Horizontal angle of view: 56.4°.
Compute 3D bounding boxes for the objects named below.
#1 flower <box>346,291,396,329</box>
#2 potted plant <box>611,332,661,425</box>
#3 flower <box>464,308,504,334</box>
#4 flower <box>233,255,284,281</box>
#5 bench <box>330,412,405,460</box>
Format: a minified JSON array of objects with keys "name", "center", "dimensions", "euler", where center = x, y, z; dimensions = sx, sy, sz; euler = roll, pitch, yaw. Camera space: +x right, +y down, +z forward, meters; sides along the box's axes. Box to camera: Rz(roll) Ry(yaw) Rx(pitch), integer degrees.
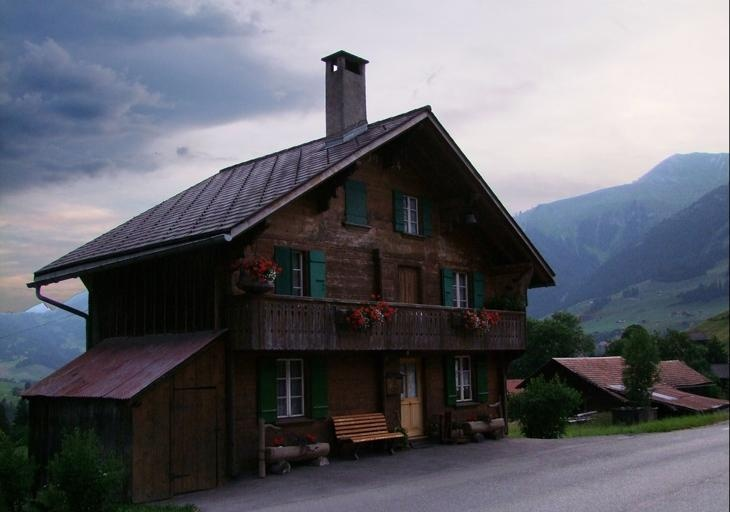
[{"name":"flower","center":[0.088,1.854,22.388],"dimensions":[0.998,0.596,1.081],"euler":[1,17,-9]},{"name":"potted plant","center":[15.509,6.762,38.416],"dimensions":[2.112,3.366,2.924],"euler":[3,-2,24]},{"name":"flower","center":[4.311,2.384,25.499],"dimensions":[1.271,0.846,0.912],"euler":[1,-3,-34]},{"name":"flower","center":[-3.328,0.371,20.556],"dimensions":[0.948,0.581,0.915],"euler":[1,-6,37]},{"name":"bench","center":[0.136,6.034,22.968],"dimensions":[1.093,1.309,2.602],"euler":[-10,-14,43]}]
